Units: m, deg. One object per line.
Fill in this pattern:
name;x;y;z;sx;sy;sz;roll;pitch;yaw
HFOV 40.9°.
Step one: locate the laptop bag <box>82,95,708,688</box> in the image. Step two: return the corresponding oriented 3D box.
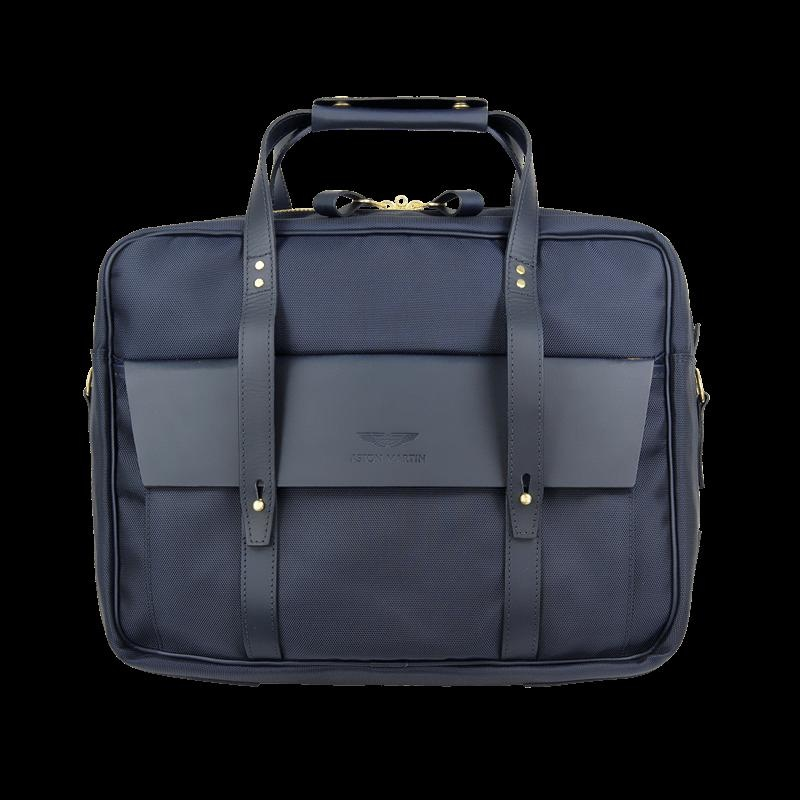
laptop bag;0.002;0.062;1.386;0.873;0.710;0.373;0;0;-1
